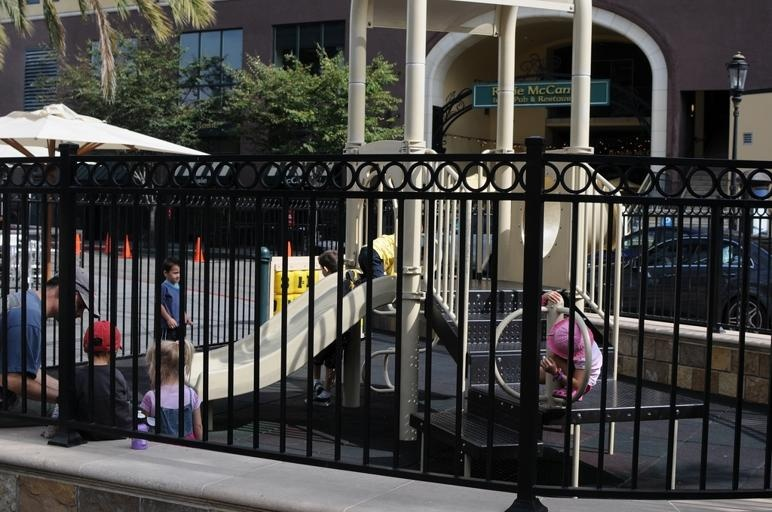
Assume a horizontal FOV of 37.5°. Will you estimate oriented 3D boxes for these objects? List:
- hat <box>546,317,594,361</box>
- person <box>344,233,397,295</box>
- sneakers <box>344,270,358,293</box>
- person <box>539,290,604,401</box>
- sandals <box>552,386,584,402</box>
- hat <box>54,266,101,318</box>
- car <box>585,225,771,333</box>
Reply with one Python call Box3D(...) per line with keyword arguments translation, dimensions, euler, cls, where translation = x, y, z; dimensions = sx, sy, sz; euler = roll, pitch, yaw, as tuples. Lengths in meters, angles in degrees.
Box3D(translation=(2.333, 1.057, 14.563), dimensions=(0.527, 0.545, 0.269), euler=(2, 5, 36), cls="hat")
Box3D(translation=(-0.240, 0.108, 16.552), dimensions=(0.435, 0.507, 1.381), euler=(-13, 15, 26), cls="person")
Box3D(translation=(-0.533, 0.348, 17.228), dimensions=(0.288, 0.314, 0.224), euler=(-1, 0, 10), cls="sneakers")
Box3D(translation=(2.387, 1.209, 14.757), dimensions=(0.765, 1.198, 0.934), euler=(-4, 31, -2), cls="person")
Box3D(translation=(2.283, 1.711, 14.396), dimensions=(0.411, 0.189, 0.164), euler=(-4, 40, 11), cls="sandals")
Box3D(translation=(-3.936, 0.408, 14.867), dimensions=(0.226, 0.622, 0.392), euler=(-32, -2, 12), cls="hat")
Box3D(translation=(4.960, 0.302, 18.330), dimensions=(2.327, 1.692, 2.871), euler=(0, 5, 11), cls="car")
